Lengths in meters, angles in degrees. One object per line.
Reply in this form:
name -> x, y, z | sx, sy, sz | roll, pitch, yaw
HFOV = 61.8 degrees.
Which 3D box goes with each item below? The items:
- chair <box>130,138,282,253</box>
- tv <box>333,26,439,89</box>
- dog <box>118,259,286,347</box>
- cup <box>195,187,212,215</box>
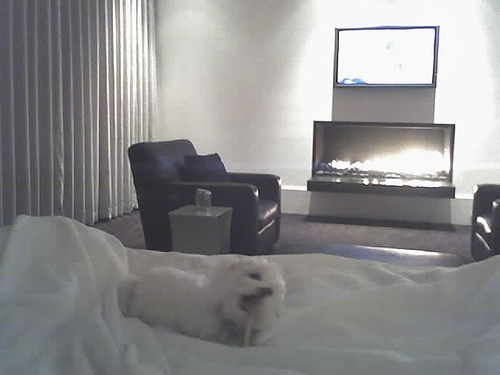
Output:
chair -> -0.247, 0.062, 2.894 | 0.900, 0.826, 0.901 | 2, 6, 31
tv -> 1.304, -1.275, 4.066 | 0.973, 0.639, 0.038 | 7, 47, 23
dog -> -0.107, 0.220, 0.947 | 0.249, 0.115, 0.201 | 6, 8, 0
cup -> -0.286, 0.092, 2.506 | 0.100, 0.161, 0.077 | 10, 11, 30
